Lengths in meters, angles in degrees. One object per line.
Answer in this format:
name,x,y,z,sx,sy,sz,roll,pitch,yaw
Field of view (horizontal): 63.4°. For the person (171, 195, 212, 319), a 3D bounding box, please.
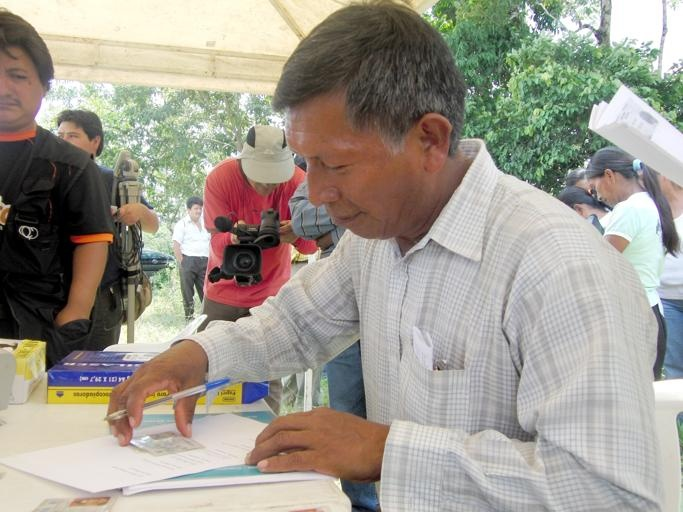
person,-1.915,0.091,7.482,0.547,1.769,0.601,16,21,41
